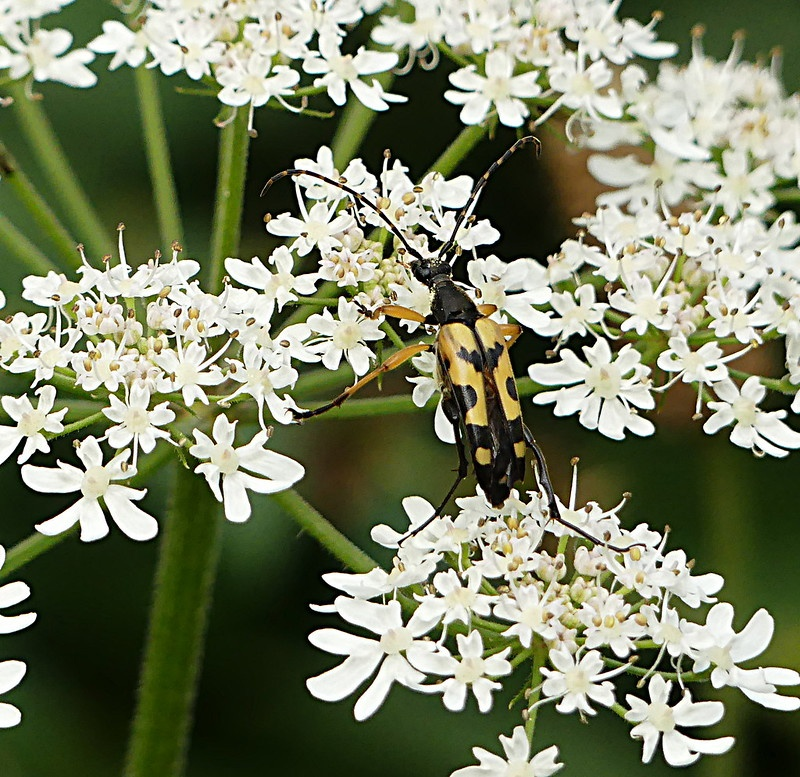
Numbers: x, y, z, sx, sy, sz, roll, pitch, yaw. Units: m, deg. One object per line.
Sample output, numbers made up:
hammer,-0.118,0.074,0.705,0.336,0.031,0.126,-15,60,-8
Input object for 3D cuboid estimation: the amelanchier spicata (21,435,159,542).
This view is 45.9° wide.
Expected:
amelanchier spicata,-1.372,0.470,4.143,0.523,0.360,0.412,-12,33,-18

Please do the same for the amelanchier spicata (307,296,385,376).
amelanchier spicata,-0.272,-0.260,4.581,0.355,0.367,0.161,-9,30,-12

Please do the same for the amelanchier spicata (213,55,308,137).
amelanchier spicata,-0.746,-1.556,4.935,0.431,0.356,0.322,-6,31,-8

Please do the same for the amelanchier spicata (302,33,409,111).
amelanchier spicata,-0.257,-1.687,5.063,0.522,0.334,0.316,-4,31,-5

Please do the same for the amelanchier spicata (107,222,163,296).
amelanchier spicata,-1.279,-0.558,4.538,0.237,0.168,0.364,-10,34,-14

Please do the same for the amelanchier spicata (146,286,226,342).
amelanchier spicata,-0.996,-0.342,4.417,0.259,0.131,0.278,29,55,5

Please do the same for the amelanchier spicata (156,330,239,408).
amelanchier spicata,-0.978,-0.098,4.360,0.316,0.224,0.249,13,34,22

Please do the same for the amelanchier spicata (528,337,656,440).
amelanchier spicata,0.977,-0.018,4.807,0.517,0.522,0.223,33,2,-1

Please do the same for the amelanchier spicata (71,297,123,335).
amelanchier spicata,-1.407,-0.333,4.411,0.235,0.132,0.184,-6,32,-7

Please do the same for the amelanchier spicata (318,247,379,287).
amelanchier spicata,-0.255,-0.597,4.619,0.189,0.067,0.222,5,66,-6

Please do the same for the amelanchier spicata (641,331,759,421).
amelanchier spicata,1.445,-0.067,4.654,0.360,0.355,0.386,8,32,15

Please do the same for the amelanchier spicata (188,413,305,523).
amelanchier spicata,-0.721,0.347,4.372,0.473,0.502,0.414,-14,33,-20
